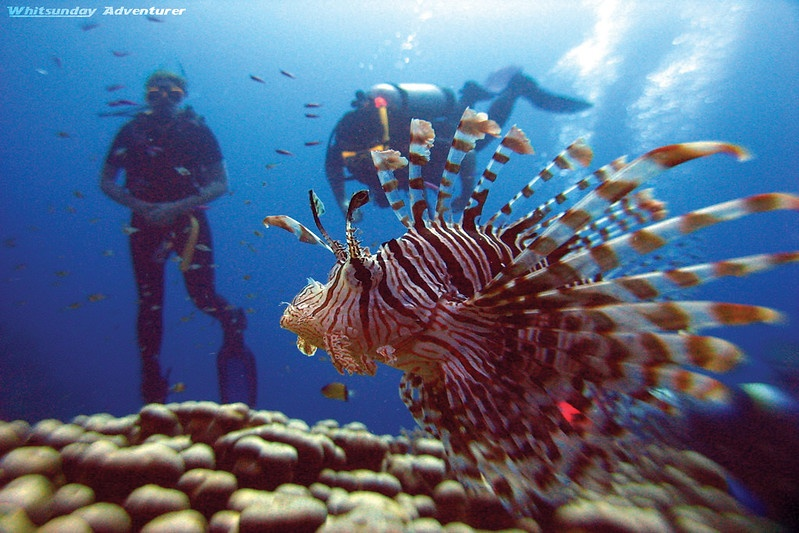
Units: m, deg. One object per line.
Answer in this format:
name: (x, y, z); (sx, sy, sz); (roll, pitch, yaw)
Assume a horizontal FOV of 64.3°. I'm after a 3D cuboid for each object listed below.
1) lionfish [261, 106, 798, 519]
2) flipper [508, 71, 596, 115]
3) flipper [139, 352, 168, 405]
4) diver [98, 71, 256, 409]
lionfish: (1.234, 0.646, 8.244); (5.787, 5.447, 3.386); (0, 91, -12)
flipper: (2.357, -3.188, 11.853); (2.576, 0.523, 0.536); (-2, 48, -16)
flipper: (-3.867, 1.774, 9.982); (0.466, 0.519, 0.746); (-5, 59, -9)
diver: (-3.911, -0.632, 10.712); (2.496, 1.552, 5.744); (2, 97, -41)
